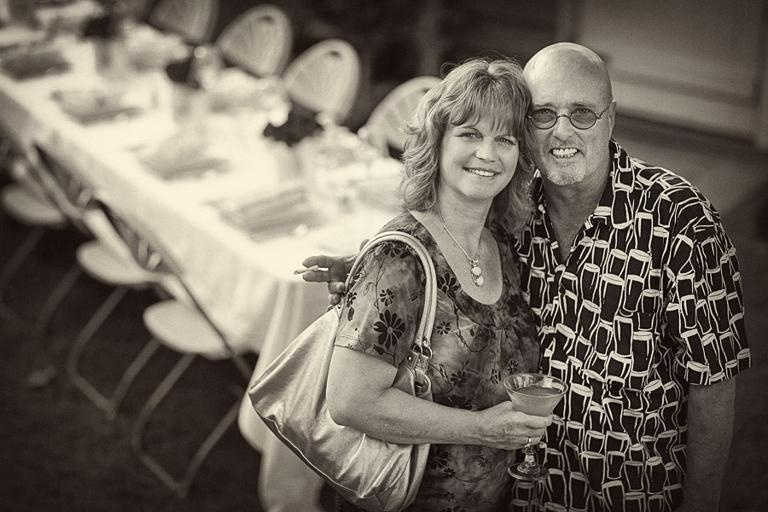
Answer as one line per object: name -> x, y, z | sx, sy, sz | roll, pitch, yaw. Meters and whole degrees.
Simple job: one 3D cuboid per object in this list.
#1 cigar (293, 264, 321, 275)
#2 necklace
cigar -> -0.353, 0.067, 4.393 | 0.098, 0.032, 0.029 | -16, 23, 15
necklace -> 0.336, -0.013, 4.051 | 0.047, 0.407, 0.124 | -20, 11, 47
